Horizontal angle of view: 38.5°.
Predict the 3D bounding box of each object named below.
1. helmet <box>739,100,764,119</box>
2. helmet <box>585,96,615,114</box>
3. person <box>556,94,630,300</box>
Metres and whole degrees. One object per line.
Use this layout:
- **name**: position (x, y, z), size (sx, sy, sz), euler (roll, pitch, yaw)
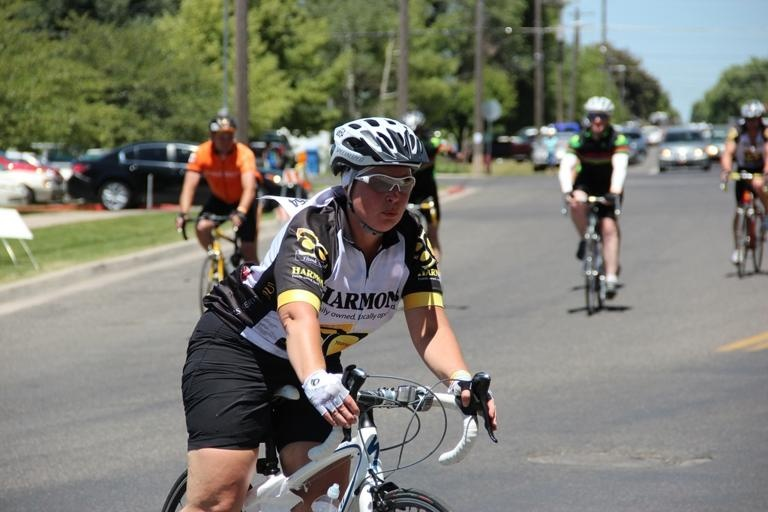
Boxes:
- **helmet**: position (4.386, -1.725, 13.073), size (0.279, 0.238, 0.277), euler (4, 13, 17)
- **helmet**: position (2.434, -1.687, 12.477), size (0.308, 0.189, 0.225), euler (1, 12, 5)
- **person**: position (2.412, -0.675, 12.725), size (0.760, 2.272, 0.708), euler (2, 12, 13)
